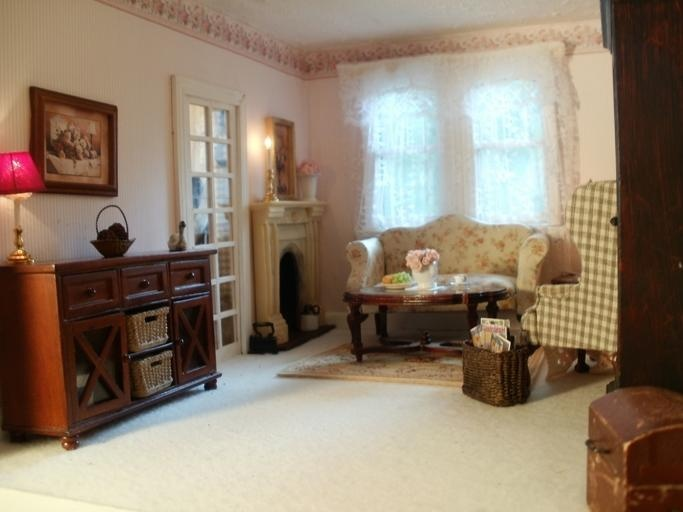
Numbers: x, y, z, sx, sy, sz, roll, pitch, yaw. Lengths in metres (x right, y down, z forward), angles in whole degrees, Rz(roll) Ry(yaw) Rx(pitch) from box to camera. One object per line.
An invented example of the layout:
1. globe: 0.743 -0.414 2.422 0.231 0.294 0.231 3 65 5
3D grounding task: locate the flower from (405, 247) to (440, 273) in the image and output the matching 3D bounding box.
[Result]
1. flower: 0.733 0.028 4.905 0.233 0.141 0.232 -14 1 -24

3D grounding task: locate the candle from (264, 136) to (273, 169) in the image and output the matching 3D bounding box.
1. candle: -0.791 -1.141 5.922 0.102 0.376 0.389 -3 5 -6

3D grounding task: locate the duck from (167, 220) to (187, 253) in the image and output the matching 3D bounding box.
1. duck: -1.341 -0.162 4.413 0.142 0.225 0.345 -4 5 -17

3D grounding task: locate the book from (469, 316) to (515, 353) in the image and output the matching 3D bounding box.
1. book: 1.127 0.570 4.040 0.246 0.255 0.092 11 15 40

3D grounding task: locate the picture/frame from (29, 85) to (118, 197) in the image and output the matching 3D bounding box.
1. picture/frame: -1.935 -0.815 3.971 0.032 0.703 0.730 3 4 20

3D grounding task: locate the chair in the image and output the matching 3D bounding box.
1. chair: 1.596 0.096 3.994 0.735 1.251 0.803 -2 6 5

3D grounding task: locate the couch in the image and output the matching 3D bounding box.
1. couch: 1.132 0.113 5.829 2.055 1.106 1.069 0 2 20

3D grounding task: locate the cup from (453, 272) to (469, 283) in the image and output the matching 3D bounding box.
1. cup: 1.098 0.204 5.033 0.104 0.076 0.077 -3 0 5

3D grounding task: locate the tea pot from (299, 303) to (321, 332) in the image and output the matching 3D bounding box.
1. tea pot: -0.379 0.729 6.503 0.241 0.293 0.316 -2 5 -3

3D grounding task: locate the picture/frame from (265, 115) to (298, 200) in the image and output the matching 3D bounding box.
1. picture/frame: -0.689 -1.119 6.277 0.173 0.924 0.713 -1 5 16

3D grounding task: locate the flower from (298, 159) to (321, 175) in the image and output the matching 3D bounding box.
1. flower: -0.416 -1.061 6.530 0.189 0.113 0.196 1 5 13

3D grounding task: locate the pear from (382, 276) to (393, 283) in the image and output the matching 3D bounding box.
1. pear: 0.432 0.231 5.090 0.064 0.069 0.066 -4 21 5

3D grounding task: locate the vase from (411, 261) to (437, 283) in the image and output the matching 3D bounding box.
1. vase: 0.752 0.137 4.927 0.194 0.178 0.182 -5 3 -1
